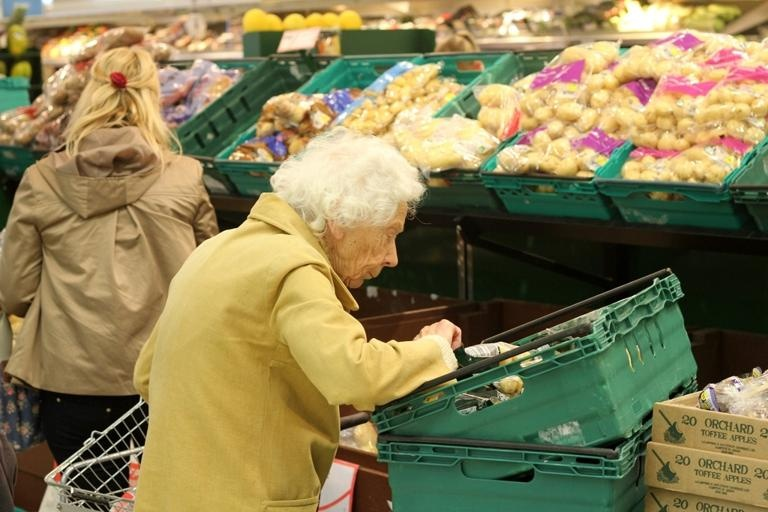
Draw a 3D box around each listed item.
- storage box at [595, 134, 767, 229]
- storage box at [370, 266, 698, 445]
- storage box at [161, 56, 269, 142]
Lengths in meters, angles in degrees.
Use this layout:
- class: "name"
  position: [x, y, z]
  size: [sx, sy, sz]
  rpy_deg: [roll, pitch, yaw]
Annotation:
- class: "storage box"
  position: [1.012, -0.245, 2.545]
  size: [0.459, 0.154, 0.356]
  rpy_deg: [0, 12, 24]
- class: "storage box"
  position: [0.458, 0.285, 2.015]
  size: [0.992, 0.421, 0.427]
  rpy_deg: [-4, 6, 3]
- class: "storage box"
  position: [-1.021, -0.941, 4.295]
  size: [0.602, 0.168, 0.597]
  rpy_deg: [-45, 28, -19]
